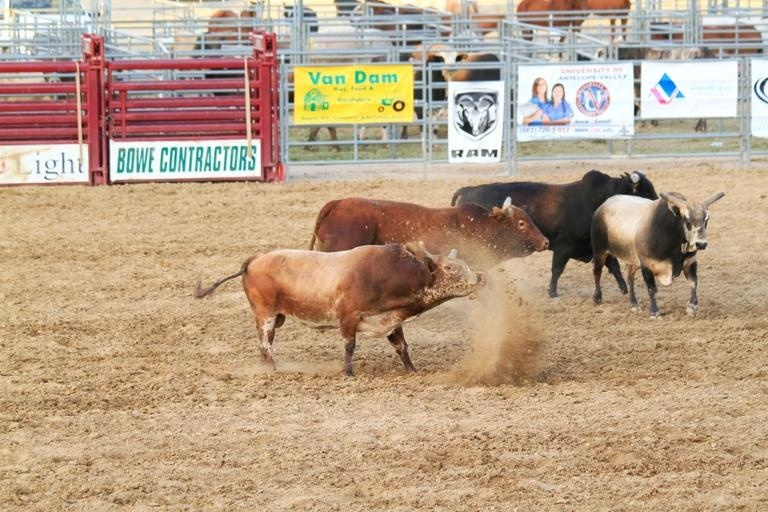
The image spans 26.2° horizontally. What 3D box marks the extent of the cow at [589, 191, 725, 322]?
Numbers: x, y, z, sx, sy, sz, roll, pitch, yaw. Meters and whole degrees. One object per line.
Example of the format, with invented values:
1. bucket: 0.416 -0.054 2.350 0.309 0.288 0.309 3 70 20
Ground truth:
1. cow: 4.485 -0.065 27.356 2.273 2.047 0.580 7 11 44
